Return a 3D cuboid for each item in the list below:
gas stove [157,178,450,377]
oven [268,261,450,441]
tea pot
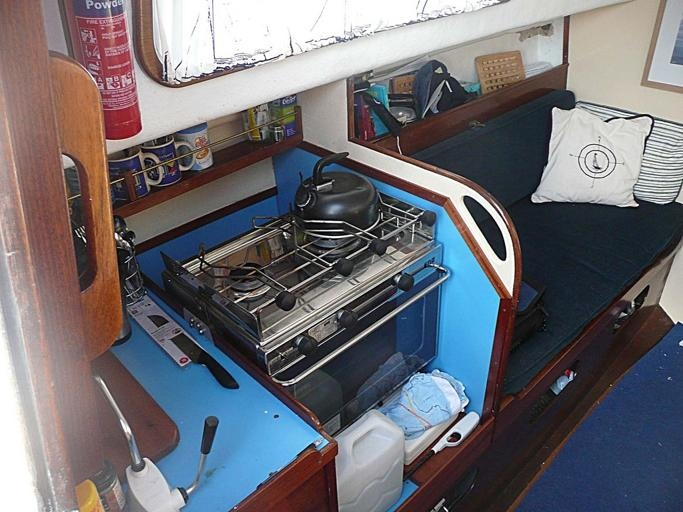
[{"bbox_3d":[-0.057,0.095,1.509,0.685,0.402,0.502,-31,46,-33],"label":"gas stove"},{"bbox_3d":[0.010,0.229,1.613,0.610,0.440,0.403,-27,28,-37],"label":"oven"},{"bbox_3d":[0.008,-0.163,1.543,0.252,0.205,0.266,-1,32,0],"label":"tea pot"}]
